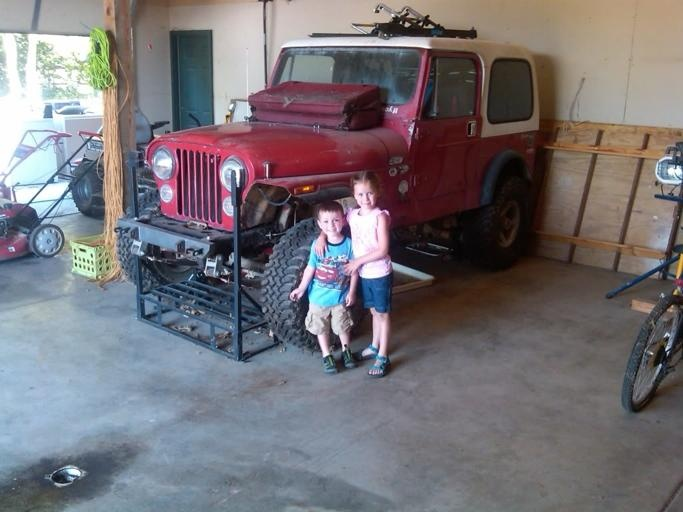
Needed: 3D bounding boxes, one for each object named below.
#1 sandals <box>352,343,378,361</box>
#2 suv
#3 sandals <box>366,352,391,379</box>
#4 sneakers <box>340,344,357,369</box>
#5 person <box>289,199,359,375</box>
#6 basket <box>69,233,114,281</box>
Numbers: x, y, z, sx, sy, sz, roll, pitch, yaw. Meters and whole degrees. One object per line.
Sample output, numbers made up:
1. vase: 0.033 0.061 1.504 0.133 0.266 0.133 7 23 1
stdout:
1. sandals: 0.179 0.769 3.968 0.188 0.066 0.105 2 7 9
2. suv: -0.139 -1.207 5.649 4.786 2.927 2.580 -10 14 -41
3. sandals: 0.266 0.848 3.795 0.093 0.100 0.235 1 1 21
4. sneakers: 0.055 0.800 3.881 0.077 0.082 0.207 -2 3 -5
5. person: -0.133 0.232 3.722 0.440 1.268 0.310 7 21 17
6. basket: -2.699 0.053 5.427 0.356 0.275 0.466 -7 20 -25
